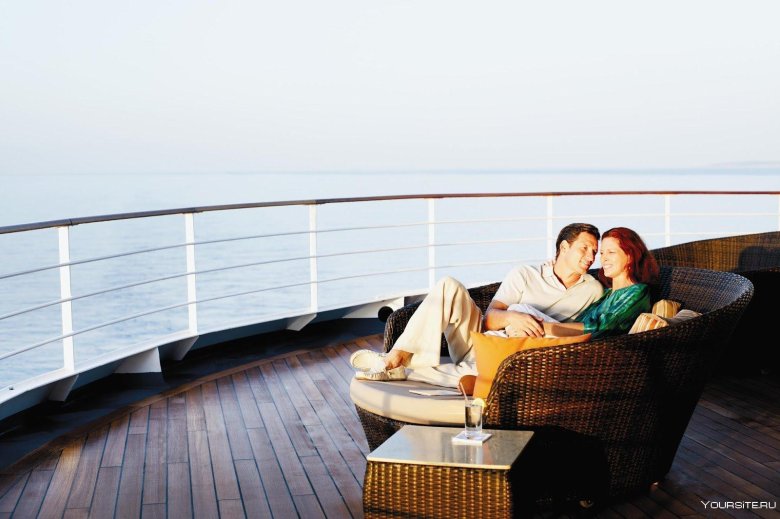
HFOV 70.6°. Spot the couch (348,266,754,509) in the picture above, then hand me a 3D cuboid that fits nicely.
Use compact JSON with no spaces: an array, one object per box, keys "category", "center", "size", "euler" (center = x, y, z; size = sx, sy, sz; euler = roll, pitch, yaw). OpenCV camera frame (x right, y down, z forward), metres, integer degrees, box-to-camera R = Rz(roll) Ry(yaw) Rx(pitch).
[{"category":"couch","center":[0.793,0.494,2.288],"size":[1.443,0.484,1.119],"euler":[1,-3,-2]}]

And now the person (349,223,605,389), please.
[{"category":"person","center":[0.490,0.271,2.849],"size":[1.602,0.734,0.589],"euler":[-8,30,2]}]
